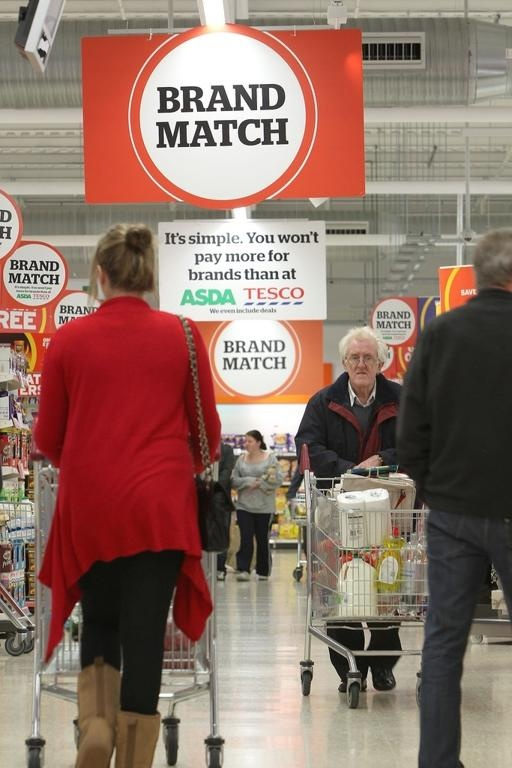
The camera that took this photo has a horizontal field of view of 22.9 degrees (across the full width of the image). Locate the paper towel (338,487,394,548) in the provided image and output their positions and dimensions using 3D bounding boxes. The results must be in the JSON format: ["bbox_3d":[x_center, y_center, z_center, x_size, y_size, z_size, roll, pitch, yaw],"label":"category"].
[{"bbox_3d":[0.455,0.563,5.235,0.217,0.247,0.241,-2,7,0],"label":"paper towel"}]

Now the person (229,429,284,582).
[{"bbox_3d":[0.014,1.133,11.646,0.462,0.963,0.842,-2,1,1],"label":"person"}]

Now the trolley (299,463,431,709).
[{"bbox_3d":[0.499,0.802,5.523,0.532,0.945,0.901,1,4,5],"label":"trolley"}]
